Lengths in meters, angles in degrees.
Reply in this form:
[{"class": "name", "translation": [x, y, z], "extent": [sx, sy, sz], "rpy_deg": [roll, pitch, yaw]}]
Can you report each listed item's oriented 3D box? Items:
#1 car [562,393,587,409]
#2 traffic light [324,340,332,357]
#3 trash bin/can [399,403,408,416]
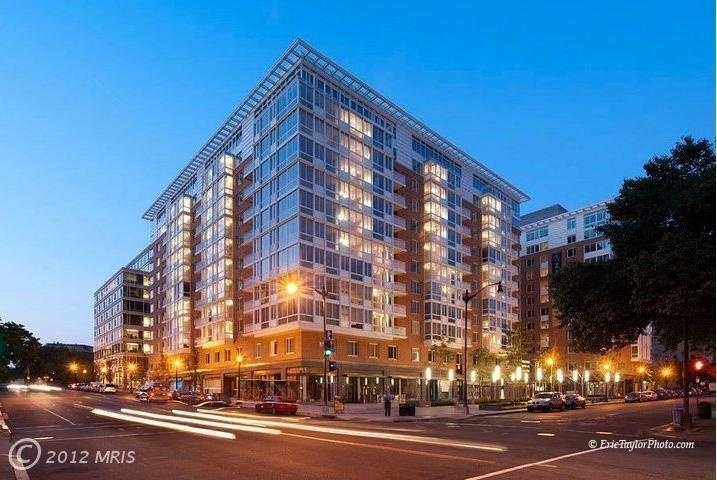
[{"class": "car", "translation": [23.867, 17.965, 75.055], "extent": [1.895, 1.369, 4.018], "rpy_deg": [-14, -22, 38]}, {"class": "traffic light", "translation": [-2.706, 9.792, 61.121], "extent": [0.455, 1.249, 1.249], "rpy_deg": [-5, -20, 8]}, {"class": "trash bin/can", "translation": [4.111, 15.366, 60.786], "extent": [1.208, 1.156, 0.851], "rpy_deg": [-3, -13, 8]}]
